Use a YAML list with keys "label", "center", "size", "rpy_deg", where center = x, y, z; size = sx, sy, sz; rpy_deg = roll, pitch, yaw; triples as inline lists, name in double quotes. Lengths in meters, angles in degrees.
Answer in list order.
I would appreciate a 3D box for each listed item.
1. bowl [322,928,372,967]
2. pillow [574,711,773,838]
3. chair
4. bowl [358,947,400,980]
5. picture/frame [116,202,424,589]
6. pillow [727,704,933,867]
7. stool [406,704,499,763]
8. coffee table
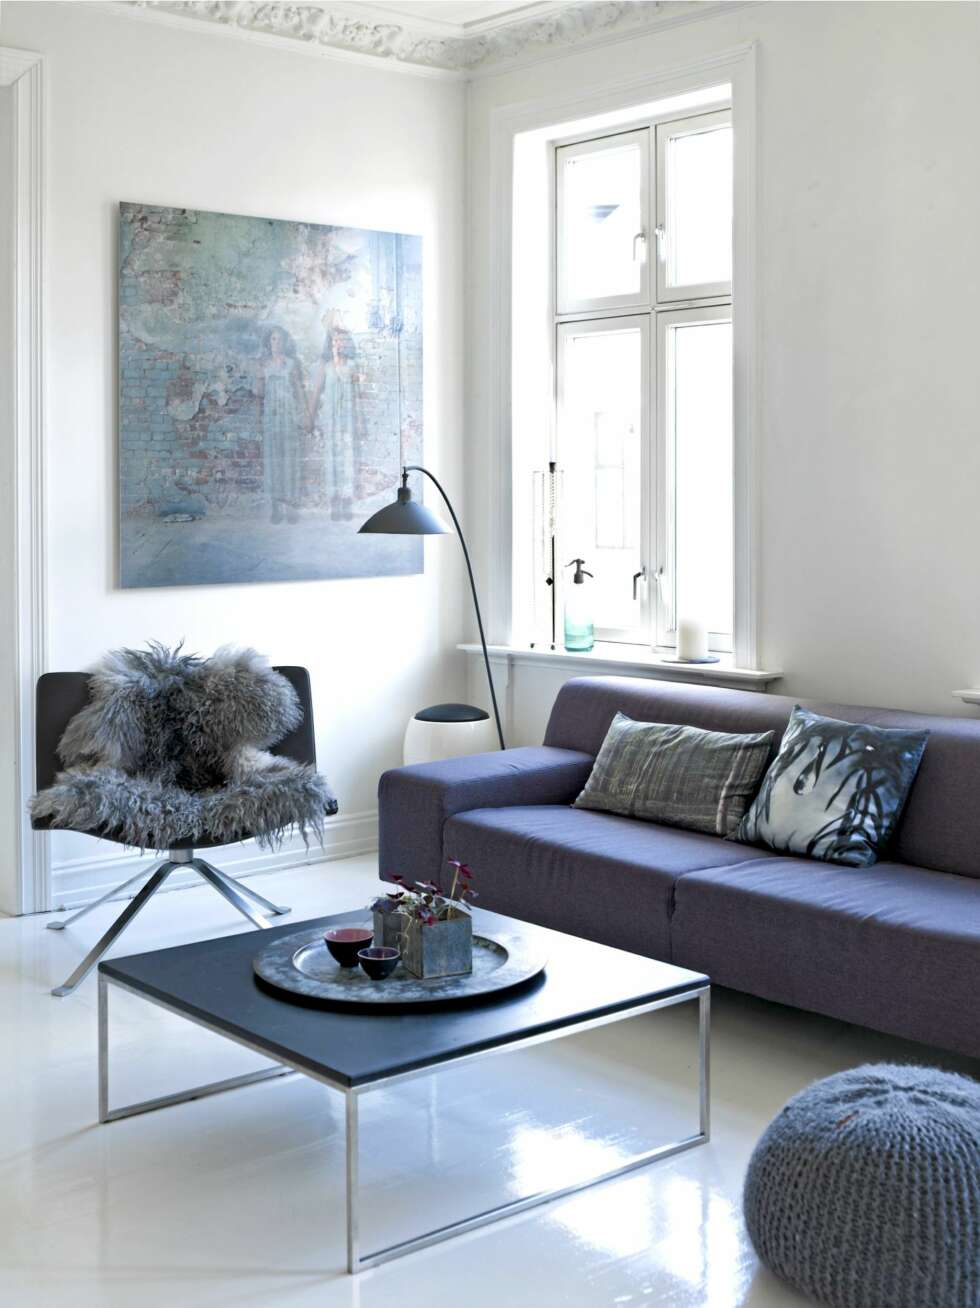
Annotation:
- label: "bowl"
  center: [-0.256, 0.515, 1.986]
  size: [0.062, 0.041, 0.062]
  rpy_deg: [2, 1, 0]
- label: "pillow"
  center: [0.516, 0.350, 3.172]
  size: [0.189, 0.307, 0.572]
  rpy_deg: [27, -15, -38]
- label: "chair"
  center: [-0.888, 0.432, 3.229]
  size: [0.805, 0.807, 0.672]
  rpy_deg: [-1, 6, -24]
- label: "bowl"
  center: [-0.192, 0.518, 1.882]
  size: [0.052, 0.029, 0.050]
  rpy_deg: [2, -7, 0]
- label: "picture/frame"
  center: [-0.814, -0.903, 3.912]
  size: [1.493, 1.418, 0.027]
  rpy_deg: [-5, 9, -41]
- label: "pillow"
  center: [0.820, 0.322, 2.686]
  size: [0.339, 0.342, 0.164]
  rpy_deg: [15, -11, 36]
- label: "stool"
  center: [-0.135, 0.270, 4.146]
  size: [0.249, 0.230, 0.242]
  rpy_deg: [-1, 1, -19]
- label: "coffee table"
  center: [-0.048, 0.576, 1.806]
  size: [0.600, 0.220, 0.593]
  rpy_deg: [0, 1, -39]
